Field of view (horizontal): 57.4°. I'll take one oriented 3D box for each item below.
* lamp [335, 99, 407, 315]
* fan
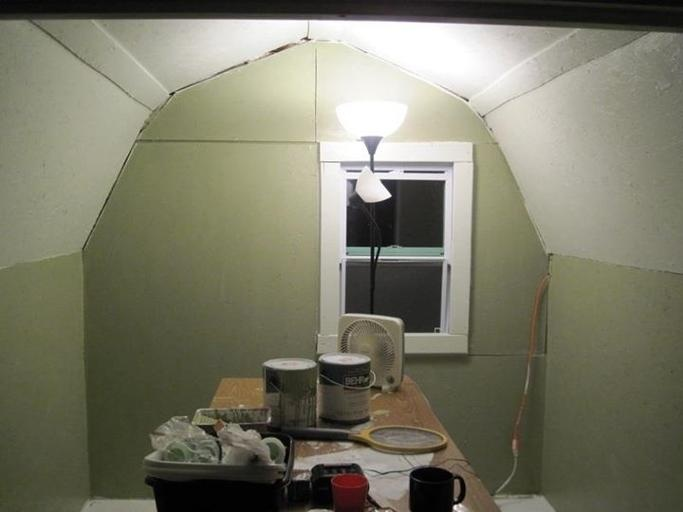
[{"bbox_3d":[0.158,-0.303,3.463,0.400,0.895,0.674,1,-1,6],"label":"lamp"},{"bbox_3d":[0.134,0.444,2.817,0.313,0.360,0.115,2,4,30],"label":"fan"}]
